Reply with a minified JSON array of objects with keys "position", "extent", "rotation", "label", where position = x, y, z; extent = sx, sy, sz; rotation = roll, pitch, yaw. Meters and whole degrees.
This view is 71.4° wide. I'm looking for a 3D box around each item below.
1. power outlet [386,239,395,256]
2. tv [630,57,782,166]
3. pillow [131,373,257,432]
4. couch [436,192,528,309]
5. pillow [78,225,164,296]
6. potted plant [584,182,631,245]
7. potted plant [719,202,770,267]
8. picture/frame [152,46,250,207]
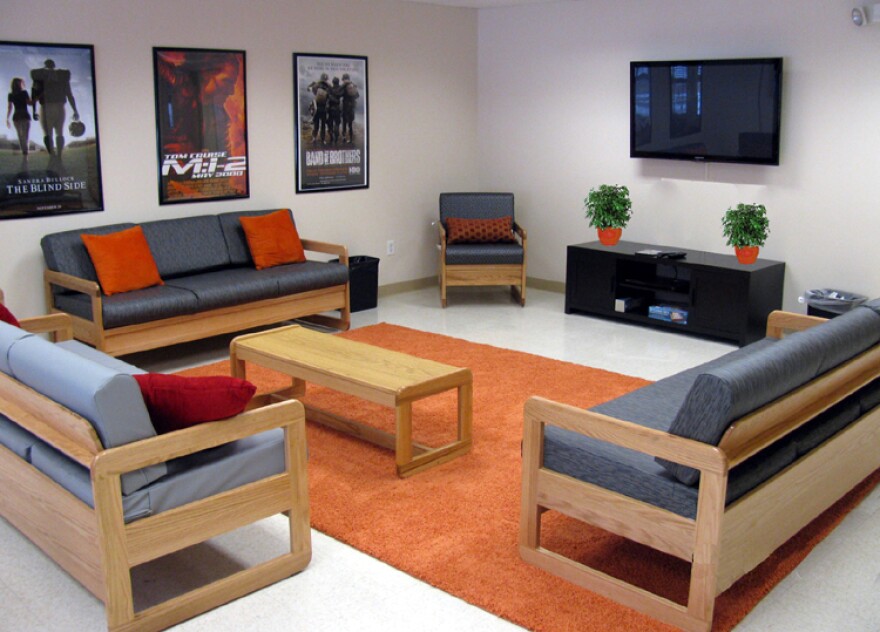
[{"position":[-0.572,-0.798,7.049],"extent":[0.023,0.232,0.171],"rotation":[9,13,39],"label":"power outlet"},{"position":[2.507,-1.971,5.853],"extent":[1.413,0.979,0.176],"rotation":[12,22,39],"label":"tv"},{"position":[-0.945,0.328,2.394],"extent":[0.402,0.234,0.222],"rotation":[-11,19,-28],"label":"pillow"},{"position":[0.451,-0.919,7.066],"extent":[0.955,1.239,1.274],"rotation":[0,10,0],"label":"couch"},{"position":[-2.565,-0.456,4.964],"extent":[0.450,0.454,0.403],"rotation":[-16,22,-40],"label":"pillow"},{"position":[1.708,-1.031,6.254],"extent":[0.422,0.585,0.299],"rotation":[2,17,12],"label":"potted plant"},{"position":[2.780,-0.765,5.570],"extent":[0.391,0.512,0.500],"rotation":[6,18,25],"label":"potted plant"},{"position":[-2.191,-1.762,5.670],"extent":[0.934,1.359,0.283],"rotation":[-10,18,-25],"label":"picture/frame"}]
